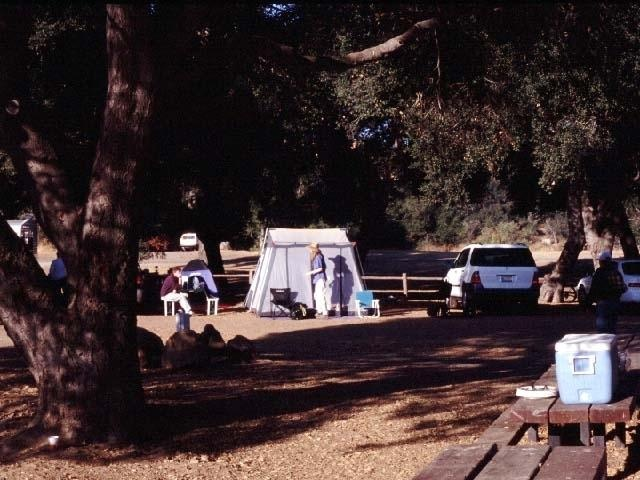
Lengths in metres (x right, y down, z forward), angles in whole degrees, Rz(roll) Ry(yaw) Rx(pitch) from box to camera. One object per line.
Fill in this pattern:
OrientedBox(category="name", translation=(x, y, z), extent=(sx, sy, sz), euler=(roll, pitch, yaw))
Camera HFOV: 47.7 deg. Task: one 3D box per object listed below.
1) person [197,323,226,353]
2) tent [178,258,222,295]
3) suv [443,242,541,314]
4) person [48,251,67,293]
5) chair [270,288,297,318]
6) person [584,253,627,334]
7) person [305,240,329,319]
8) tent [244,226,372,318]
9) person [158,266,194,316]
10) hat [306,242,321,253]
OrientedBox(category="person", translation=(-2.044, 1.874, 13.762), extent=(0.481, 0.495, 0.827), euler=(-1, -1, -10))
OrientedBox(category="tent", translation=(-3.802, 1.171, 23.199), extent=(0.973, 1.305, 1.301), euler=(0, -3, 0))
OrientedBox(category="suv", translation=(4.781, 1.071, 21.107), extent=(1.620, 1.477, 2.941), euler=(-1, 1, -3))
OrientedBox(category="person", translation=(-6.469, 0.861, 17.728), extent=(0.389, 0.966, 1.710), euler=(-1, -1, -22))
OrientedBox(category="chair", translation=(-1.064, 1.863, 20.483), extent=(0.650, 1.085, 0.718), euler=(0, -7, -8))
OrientedBox(category="person", translation=(4.400, 0.879, 11.115), extent=(0.614, 1.235, 0.380), euler=(-1, 0, -28))
OrientedBox(category="person", translation=(-0.041, 1.176, 21.024), extent=(0.599, 2.145, 1.455), euler=(-1, -1, -1))
OrientedBox(category="tent", translation=(-0.395, 0.933, 22.685), extent=(3.653, 2.890, 3.615), euler=(0, -6, -3))
OrientedBox(category="person", translation=(-4.370, 1.508, 21.780), extent=(0.790, 1.352, 1.854), euler=(-1, -1, -12))
OrientedBox(category="hat", translation=(-0.182, 0.224, 20.744), extent=(0.344, 0.284, 0.805), euler=(-1, -2, -1))
